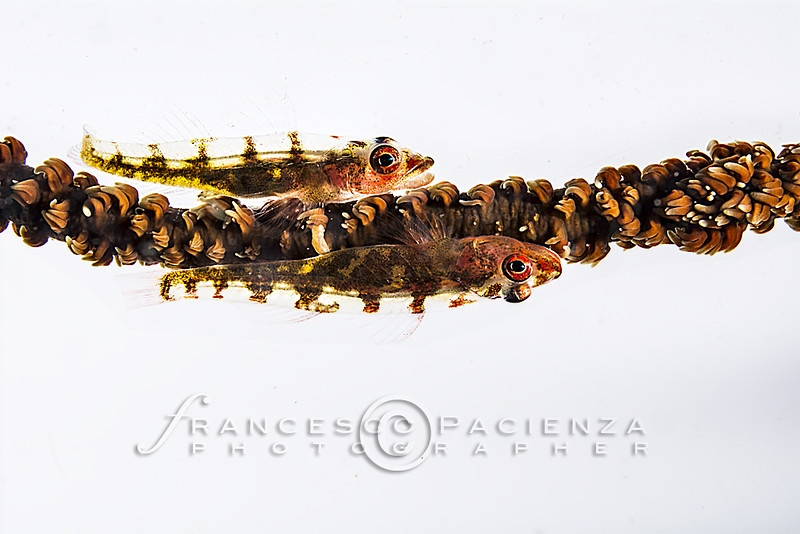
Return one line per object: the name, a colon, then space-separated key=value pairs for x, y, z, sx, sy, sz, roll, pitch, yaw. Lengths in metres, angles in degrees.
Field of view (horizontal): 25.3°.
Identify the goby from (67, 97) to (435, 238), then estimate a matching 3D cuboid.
goby: x=-0.780 y=-0.561 z=10.348 sx=2.599 sy=0.891 sz=0.955 roll=1 pitch=2 yaw=-6
